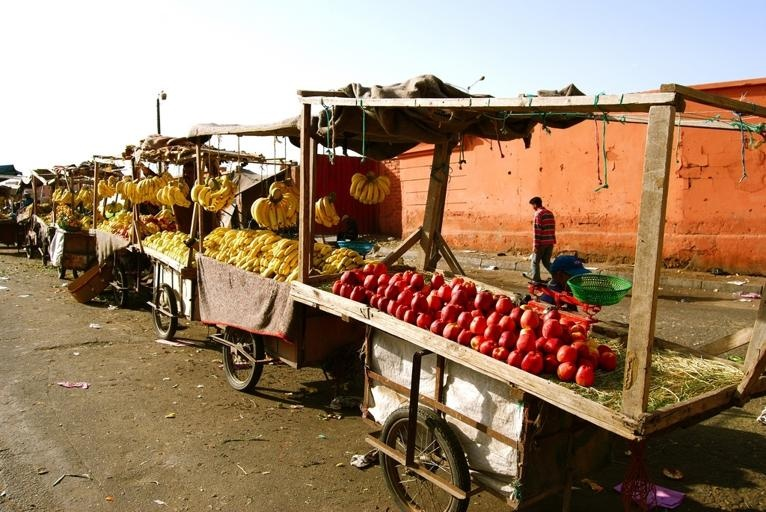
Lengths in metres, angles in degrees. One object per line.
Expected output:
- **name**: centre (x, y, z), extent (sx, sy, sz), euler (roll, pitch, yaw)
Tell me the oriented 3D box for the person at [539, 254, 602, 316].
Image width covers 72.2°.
- **person**: centre (2.431, 0.316, 7.036), extent (0.846, 0.883, 0.598), euler (-1, 3, 29)
